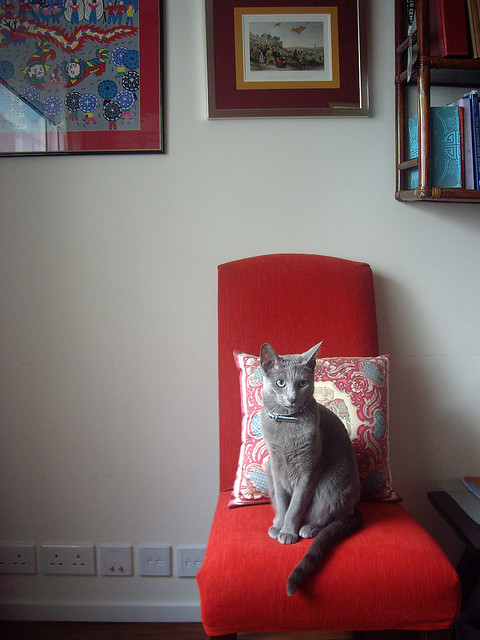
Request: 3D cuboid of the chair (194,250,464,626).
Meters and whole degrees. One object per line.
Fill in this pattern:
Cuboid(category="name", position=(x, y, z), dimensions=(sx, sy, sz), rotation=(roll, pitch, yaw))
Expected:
Cuboid(category="chair", position=(0.172, 0.208, 1.228), dimensions=(0.439, 0.803, 0.643), rotation=(0, -8, 3))

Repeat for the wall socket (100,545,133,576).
Cuboid(category="wall socket", position=(-0.354, 0.692, 1.580), dimensions=(0.077, 0.081, 0.027), rotation=(-1, -2, 2))

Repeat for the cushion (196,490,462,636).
Cuboid(category="cushion", position=(0.164, 0.501, 1.141), dimensions=(0.492, 0.160, 0.279), rotation=(-2, 8, -3))

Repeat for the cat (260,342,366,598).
Cuboid(category="cat", position=(0.160, 0.262, 1.091), dimensions=(0.226, 0.428, 0.300), rotation=(-2, 8, -1))

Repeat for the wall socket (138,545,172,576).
Cuboid(category="wall socket", position=(-0.244, 0.693, 1.576), dimensions=(0.074, 0.077, 0.028), rotation=(1, 3, -2))
